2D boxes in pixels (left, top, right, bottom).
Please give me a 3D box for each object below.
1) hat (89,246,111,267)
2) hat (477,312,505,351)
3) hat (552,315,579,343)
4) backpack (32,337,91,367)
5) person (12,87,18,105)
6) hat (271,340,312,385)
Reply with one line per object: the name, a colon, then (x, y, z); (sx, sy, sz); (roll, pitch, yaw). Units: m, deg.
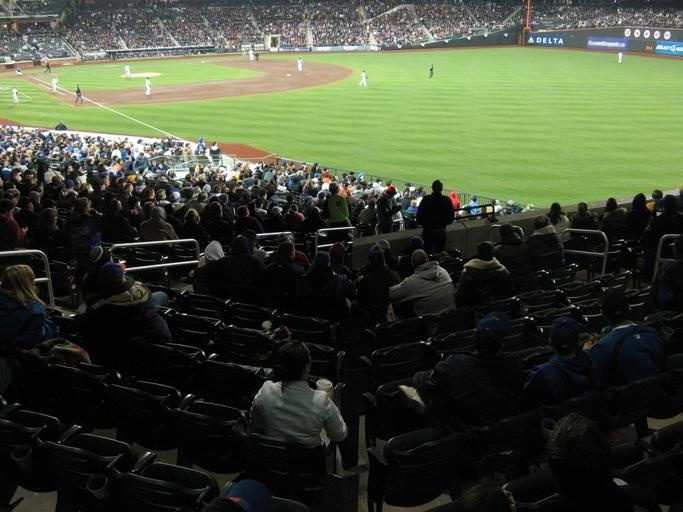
hat: (-3.011, 0.000, 7.801); (0.175, 0.199, 0.217); (19, 68, 10)
hat: (1.303, 0.584, 5.450); (0.268, 0.208, 0.367); (1, 34, 4)
hat: (2.009, 0.640, 5.621); (0.174, 0.156, 0.250); (0, 36, 25)
backpack: (-2.845, 0.942, 6.389); (0.401, 0.118, 0.309); (19, 15, 0)
person: (-22.273, -10.994, 42.679); (0.364, 1.118, 2.141); (-11, 16, -25)
hat: (-0.404, 0.846, 5.267); (0.288, 0.309, 0.354); (6, 58, 3)
